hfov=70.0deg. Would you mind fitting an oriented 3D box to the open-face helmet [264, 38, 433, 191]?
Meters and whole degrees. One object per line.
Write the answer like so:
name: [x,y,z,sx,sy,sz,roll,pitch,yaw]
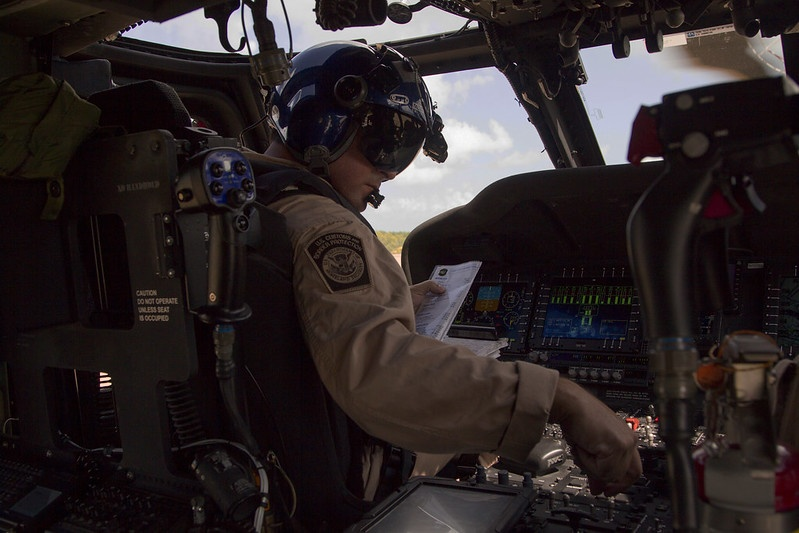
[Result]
open-face helmet: [-0.167,-0.493,1.762,0.485,0.371,0.395,1,4,-13]
